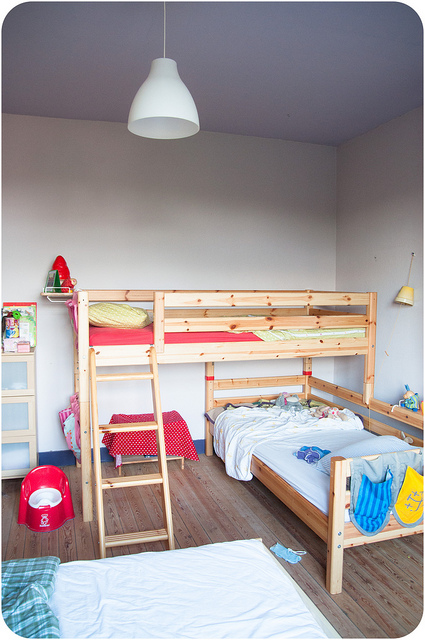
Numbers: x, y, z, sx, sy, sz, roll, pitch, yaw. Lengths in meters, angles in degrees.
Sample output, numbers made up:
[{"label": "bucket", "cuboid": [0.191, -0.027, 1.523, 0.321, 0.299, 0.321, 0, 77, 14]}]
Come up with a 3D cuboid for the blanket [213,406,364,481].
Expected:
[{"label": "blanket", "cuboid": [0.500, 0.894, 3.777, 0.841, 0.277, 0.628, -1, 4, -20]}]

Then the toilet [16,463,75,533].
[{"label": "toilet", "cuboid": [-1.099, 1.185, 3.019, 0.374, 0.362, 0.282, 2, 4, -20]}]

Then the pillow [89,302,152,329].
[{"label": "pillow", "cuboid": [-0.626, -0.027, 3.119, 0.410, 0.156, 0.198, 3, 4, -11]}]

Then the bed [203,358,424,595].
[{"label": "bed", "cuboid": [0.722, 0.893, 3.185, 0.861, 0.693, 1.541, -2, 5, -18]}]
